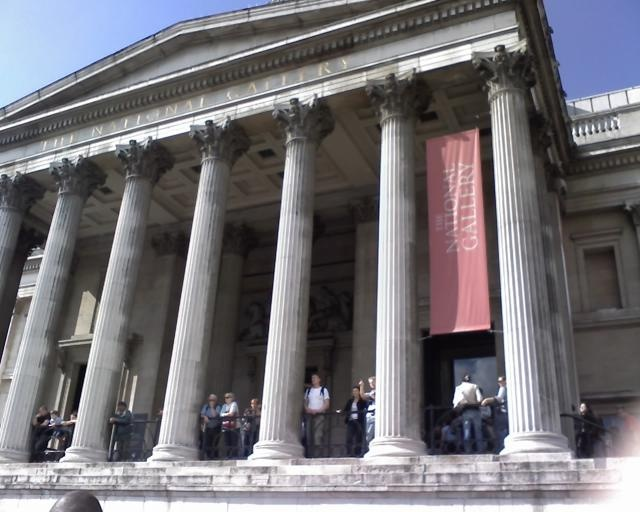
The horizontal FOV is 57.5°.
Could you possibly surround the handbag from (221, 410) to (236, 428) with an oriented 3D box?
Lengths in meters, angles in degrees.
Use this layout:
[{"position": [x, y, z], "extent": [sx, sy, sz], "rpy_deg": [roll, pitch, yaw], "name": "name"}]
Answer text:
[{"position": [-2.653, 4.705, 16.834], "extent": [0.443, 0.607, 0.614], "rpy_deg": [2, -22, -2], "name": "handbag"}]
